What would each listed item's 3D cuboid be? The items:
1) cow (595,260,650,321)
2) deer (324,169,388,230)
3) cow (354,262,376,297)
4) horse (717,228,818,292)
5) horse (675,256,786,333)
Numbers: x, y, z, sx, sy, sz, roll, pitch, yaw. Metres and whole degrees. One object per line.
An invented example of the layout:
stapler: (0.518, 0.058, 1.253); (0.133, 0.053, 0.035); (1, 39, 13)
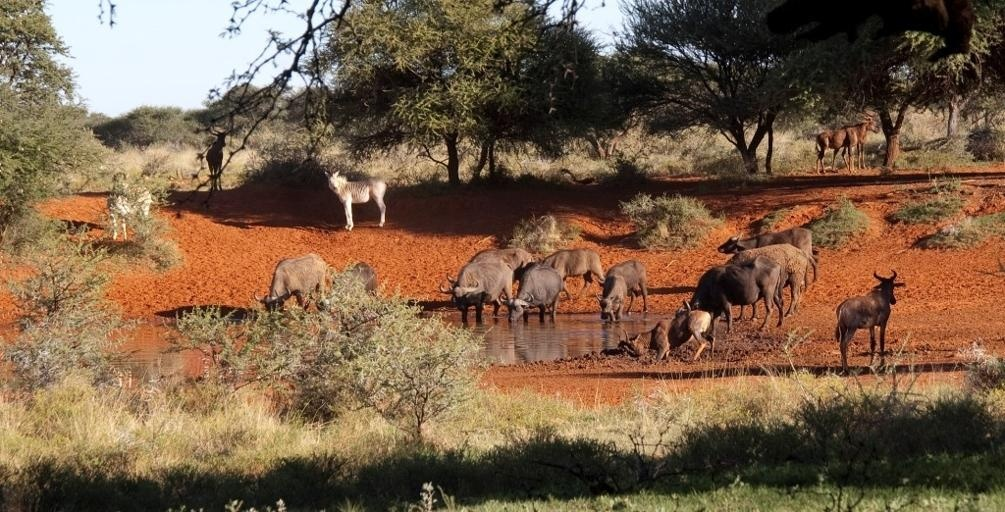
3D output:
cow: (5.078, 1.581, 46.982); (1.114, 2.356, 4.299); (1, 15, 31)
deer: (-7.283, -2.825, 56.167); (3.524, 2.968, 0.946); (-2, 4, 20)
cow: (-5.900, 0.871, 46.952); (0.788, 1.268, 1.852); (0, -6, 5)
horse: (11.726, 0.002, 47.864); (4.237, 2.185, 1.230); (-1, -7, 21)
horse: (9.080, 1.638, 43.059); (3.887, 2.784, 1.097); (-8, 7, 8)
